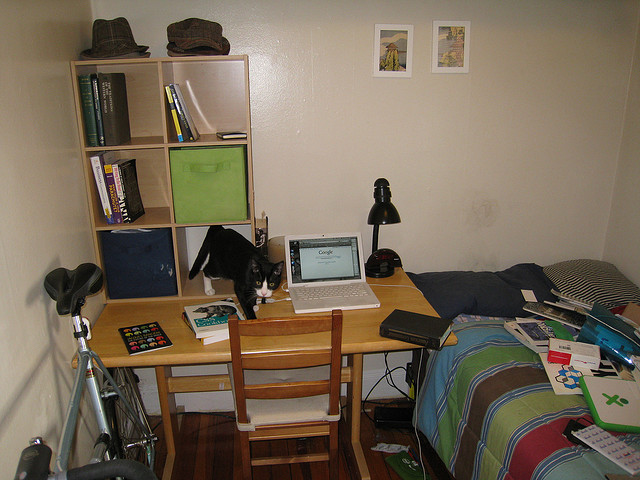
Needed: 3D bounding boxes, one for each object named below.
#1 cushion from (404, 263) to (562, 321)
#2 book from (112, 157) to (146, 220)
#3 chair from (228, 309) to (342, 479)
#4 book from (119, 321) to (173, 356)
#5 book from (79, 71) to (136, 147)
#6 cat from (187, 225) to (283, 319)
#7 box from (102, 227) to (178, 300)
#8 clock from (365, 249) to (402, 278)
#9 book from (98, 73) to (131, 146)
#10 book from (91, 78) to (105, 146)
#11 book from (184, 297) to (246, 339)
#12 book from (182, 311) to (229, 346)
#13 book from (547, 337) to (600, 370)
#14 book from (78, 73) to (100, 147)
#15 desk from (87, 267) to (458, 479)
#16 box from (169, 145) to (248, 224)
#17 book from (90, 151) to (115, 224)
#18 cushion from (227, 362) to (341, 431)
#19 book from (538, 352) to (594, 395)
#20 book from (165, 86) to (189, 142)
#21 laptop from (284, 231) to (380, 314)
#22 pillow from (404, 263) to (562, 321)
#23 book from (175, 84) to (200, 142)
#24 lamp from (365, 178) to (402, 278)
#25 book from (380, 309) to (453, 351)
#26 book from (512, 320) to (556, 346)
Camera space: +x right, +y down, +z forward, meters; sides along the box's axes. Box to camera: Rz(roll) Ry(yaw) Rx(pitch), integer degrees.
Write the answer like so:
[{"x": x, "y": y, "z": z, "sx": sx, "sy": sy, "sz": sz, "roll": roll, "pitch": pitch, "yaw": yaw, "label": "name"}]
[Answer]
[{"x": 0.955, "y": 0.286, "z": 2.780, "sx": 0.583, "sy": 0.178, "sz": 0.351, "roll": -3, "pitch": 28, "yaw": -7, "label": "cushion"}, {"x": -0.986, "y": -0.255, "z": 2.569, "sx": 0.065, "sy": 0.278, "sz": 0.268, "roll": -6, "pitch": 12, "yaw": -8, "label": "book"}, {"x": -0.169, "y": 0.746, "z": 2.436, "sx": 0.472, "sy": 1.082, "sz": 0.567, "roll": -6, "pitch": 18, "yaw": -10, "label": "chair"}, {"x": -0.807, "y": 0.447, "z": 2.286, "sx": 0.136, "sy": 0.014, "sz": 0.151, "roll": -7, "pitch": 32, "yaw": -28, "label": "book"}, {"x": -1.105, "y": -0.664, "z": 2.564, "sx": 0.224, "sy": 0.339, "sz": 0.381, "roll": -4, "pitch": 17, "yaw": -10, "label": "book"}, {"x": -0.432, "y": 0.165, "z": 2.605, "sx": 0.199, "sy": 0.386, "sz": 0.687, "roll": -10, "pitch": 31, "yaw": -41, "label": "cat"}, {"x": -0.967, "y": 0.099, "z": 2.756, "sx": 0.354, "sy": 0.357, "sz": 0.355, "roll": -3, "pitch": 10, "yaw": -12, "label": "box"}, {"x": 0.359, "y": 0.132, "z": 2.802, "sx": 0.232, "sy": 0.169, "sz": 0.147, "roll": -4, "pitch": 21, "yaw": -9, "label": "clock"}, {"x": -1.028, "y": -0.635, "z": 2.462, "sx": 0.113, "sy": 0.305, "sz": 0.312, "roll": -4, "pitch": 25, "yaw": -8, "label": "book"}, {"x": -1.083, "y": -0.612, "z": 2.425, "sx": 0.046, "sy": 0.201, "sz": 0.193, "roll": -1, "pitch": 6, "yaw": -13, "label": "book"}, {"x": -0.502, "y": 0.379, "z": 2.403, "sx": 0.264, "sy": 0.059, "sz": 0.267, "roll": -20, "pitch": 29, "yaw": -27, "label": "book"}, {"x": -0.564, "y": 0.405, "z": 2.348, "sx": 0.106, "sy": 0.081, "sz": 0.317, "roll": -19, "pitch": 23, "yaw": -40, "label": "book"}, {"x": 1.172, "y": 0.521, "z": 2.301, "sx": 0.226, "sy": 0.063, "sz": 0.119, "roll": 8, "pitch": 21, "yaw": 19, "label": "book"}, {"x": -1.120, "y": -0.621, "z": 2.415, "sx": 0.057, "sy": 0.246, "sz": 0.237, "roll": -4, "pitch": 12, "yaw": -14, "label": "book"}, {"x": -0.378, "y": 0.999, "z": 2.884, "sx": 1.895, "sy": 1.016, "sz": 1.012, "roll": -3, "pitch": 37, "yaw": -5, "label": "desk"}, {"x": -0.637, "y": -0.280, "z": 2.666, "sx": 0.378, "sy": 0.365, "sz": 0.301, "roll": -8, "pitch": 11, "yaw": -31, "label": "box"}, {"x": -1.098, "y": -0.264, "z": 2.498, "sx": 0.047, "sy": 0.323, "sz": 0.280, "roll": -16, "pitch": 24, "yaw": -9, "label": "book"}, {"x": -0.185, "y": 0.660, "z": 2.346, "sx": 0.502, "sy": 0.293, "sz": 0.327, "roll": -5, "pitch": 18, "yaw": -6, "label": "cushion"}, {"x": 1.117, "y": 0.615, "z": 2.206, "sx": 0.196, "sy": 0.077, "sz": 0.162, "roll": 3, "pitch": 18, "yaw": 18, "label": "book"}, {"x": -0.720, "y": -0.612, "z": 2.482, "sx": 0.031, "sy": 0.268, "sz": 0.201, "roll": -14, "pitch": 36, "yaw": -2, "label": "book"}, {"x": 0.059, "y": 0.159, "z": 2.599, "sx": 0.447, "sy": 0.319, "sz": 0.370, "roll": -5, "pitch": 18, "yaw": -6, "label": "laptop"}, {"x": 0.959, "y": 0.288, "z": 2.775, "sx": 0.565, "sy": 0.170, "sz": 0.357, "roll": -3, "pitch": 28, "yaw": -7, "label": "pillow"}, {"x": -0.690, "y": -0.655, "z": 2.566, "sx": 0.044, "sy": 0.235, "sz": 0.304, "roll": -15, "pitch": 14, "yaw": -6, "label": "book"}, {"x": 0.355, "y": -0.061, "z": 2.781, "sx": 0.201, "sy": 0.556, "sz": 0.212, "roll": 0, "pitch": 18, "yaw": 9, "label": "lamp"}, {"x": 0.452, "y": 0.407, "z": 2.302, "sx": 0.210, "sy": 0.051, "sz": 0.226, "roll": 10, "pitch": 17, "yaw": 23, "label": "book"}, {"x": 1.071, "y": 0.450, "z": 2.440, "sx": 0.106, "sy": 0.030, "sz": 0.113, "roll": -5, "pitch": 26, "yaw": -2, "label": "book"}]
